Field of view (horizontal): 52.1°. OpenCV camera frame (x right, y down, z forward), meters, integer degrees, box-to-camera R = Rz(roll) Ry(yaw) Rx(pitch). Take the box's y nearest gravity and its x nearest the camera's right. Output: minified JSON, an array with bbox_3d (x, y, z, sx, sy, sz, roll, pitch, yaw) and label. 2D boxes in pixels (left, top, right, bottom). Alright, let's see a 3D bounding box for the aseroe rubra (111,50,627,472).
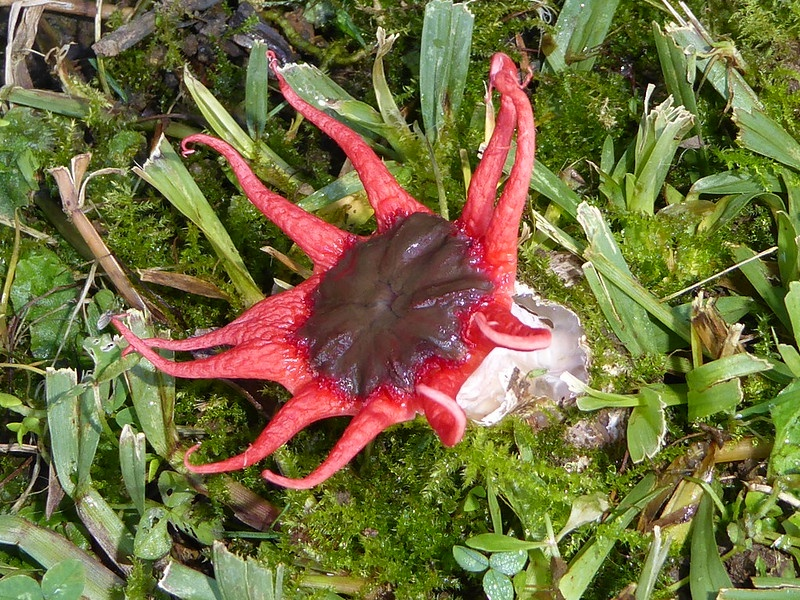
[{"bbox_3d":[-0.141,-0.055,2.644,1.311,0.436,1.118,-16,84,-2],"label":"aseroe rubra"}]
